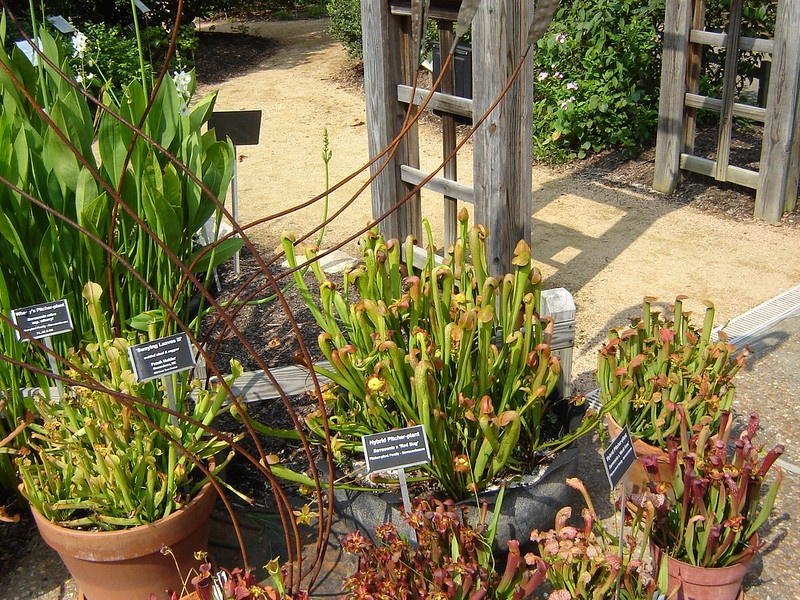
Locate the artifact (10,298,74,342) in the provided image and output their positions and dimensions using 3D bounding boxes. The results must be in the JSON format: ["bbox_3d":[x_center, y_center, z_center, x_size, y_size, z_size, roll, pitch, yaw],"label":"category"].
[{"bbox_3d":[-1.124,0.072,2.118,0.154,0.118,0.077,-21,30,-36],"label":"artifact"}]

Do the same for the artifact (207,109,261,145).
[{"bbox_3d":[-0.927,-0.960,3.760,0.304,0.209,0.247,0,24,3],"label":"artifact"}]
